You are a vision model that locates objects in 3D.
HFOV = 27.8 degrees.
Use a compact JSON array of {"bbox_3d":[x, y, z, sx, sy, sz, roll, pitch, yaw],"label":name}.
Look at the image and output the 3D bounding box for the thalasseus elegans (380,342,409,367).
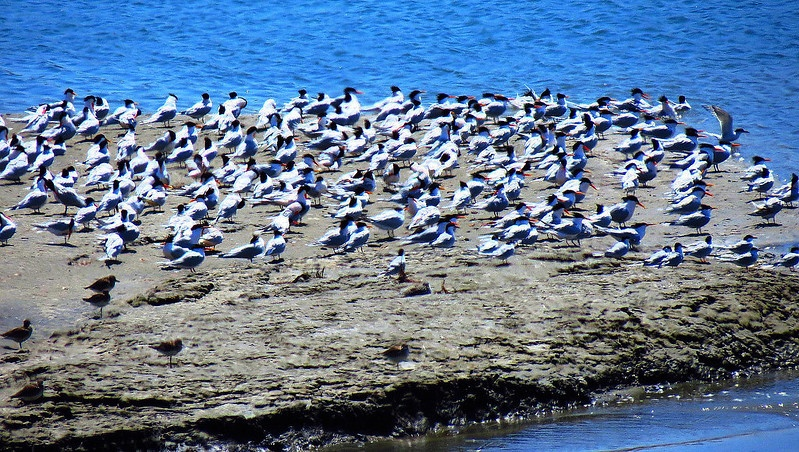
[{"bbox_3d":[-0.034,4.589,57.804,0.935,0.761,0.381,1,2,-4],"label":"thalasseus elegans"}]
